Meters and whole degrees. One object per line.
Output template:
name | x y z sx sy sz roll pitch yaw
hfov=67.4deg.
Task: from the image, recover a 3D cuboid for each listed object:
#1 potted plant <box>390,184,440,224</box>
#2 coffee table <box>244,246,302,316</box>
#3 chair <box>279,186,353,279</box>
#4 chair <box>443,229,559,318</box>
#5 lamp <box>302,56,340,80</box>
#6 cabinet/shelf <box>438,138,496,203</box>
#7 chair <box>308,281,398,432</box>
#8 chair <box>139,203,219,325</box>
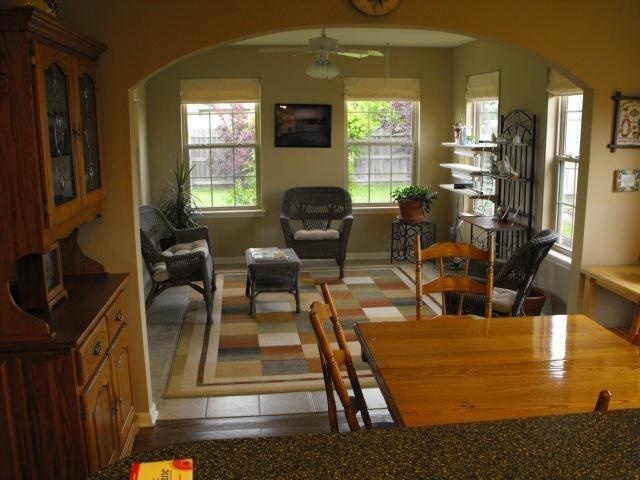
potted plant | 1.291 -0.475 6.633 0.520 0.456 0.570 -4 7 -26
coffee table | -0.572 0.409 5.497 0.615 0.544 0.917 0 11 -11
chair | -0.055 -0.144 6.573 0.953 1.104 0.802 0 13 0
chair | 1.507 0.413 4.167 1.010 0.938 0.634 -2 0 22
lamp | 0.052 -1.596 4.533 0.400 0.183 0.381 -3 8 -26
cabinet/shelf | 1.983 -0.874 6.217 0.394 0.637 1.358 3 12 5
chair | 0.221 0.571 2.102 0.349 0.718 0.327 -9 20 14
chair | -1.615 0.161 5.269 0.872 0.927 1.144 1 16 -9
